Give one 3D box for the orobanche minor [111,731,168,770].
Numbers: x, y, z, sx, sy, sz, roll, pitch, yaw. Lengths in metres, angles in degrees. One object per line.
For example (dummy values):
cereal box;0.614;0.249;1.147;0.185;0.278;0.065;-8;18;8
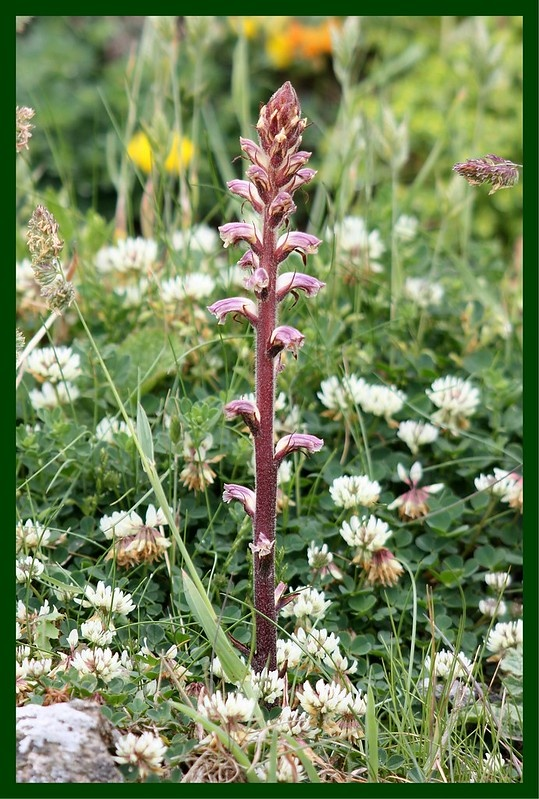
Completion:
orobanche minor;-0.213;0.582;1.306;0.067;0.044;0.069;8;-34;11
